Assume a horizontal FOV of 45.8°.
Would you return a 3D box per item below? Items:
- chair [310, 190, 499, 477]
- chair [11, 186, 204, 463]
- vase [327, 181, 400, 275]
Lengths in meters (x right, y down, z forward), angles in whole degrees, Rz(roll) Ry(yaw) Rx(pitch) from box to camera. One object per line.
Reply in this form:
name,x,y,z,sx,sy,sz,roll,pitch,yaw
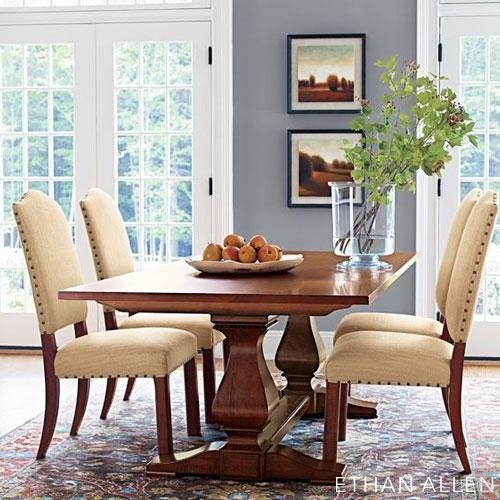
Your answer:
chair,0.528,0.283,1.923,0.591,0.948,0.310,-1,3,4
chair,-0.526,0.254,2.215,0.651,0.831,0.483,5,0,3
vase,0.437,-0.081,2.251,0.291,0.305,0.261,1,2,30
